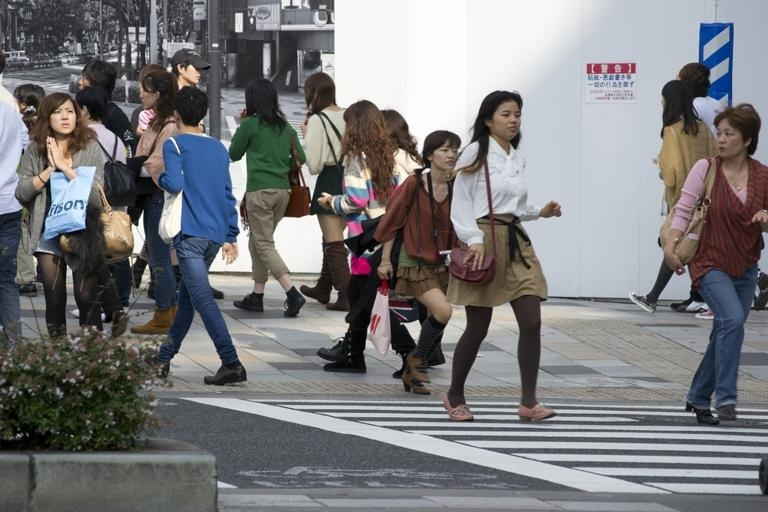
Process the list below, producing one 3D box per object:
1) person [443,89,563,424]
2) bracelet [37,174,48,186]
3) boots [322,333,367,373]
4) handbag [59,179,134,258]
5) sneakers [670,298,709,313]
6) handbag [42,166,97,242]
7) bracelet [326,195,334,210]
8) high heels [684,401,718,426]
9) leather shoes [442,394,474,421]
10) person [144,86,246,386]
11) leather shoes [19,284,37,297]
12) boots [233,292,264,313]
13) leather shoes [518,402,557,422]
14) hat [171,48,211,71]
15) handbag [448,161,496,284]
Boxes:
[{"bbox_3d":[0.975,0.039,8.146,0.864,2.841,0.596,2,6,5],"label":"person"},{"bbox_3d":[-3.094,-0.694,8.767,0.058,0.104,0.102,5,7,23],"label":"bracelet"},{"bbox_3d":[-0.355,1.020,10.139,0.546,0.511,0.267,4,4,0],"label":"boots"},{"bbox_3d":[-2.708,-0.340,8.991,0.323,0.727,0.691,-18,-9,23],"label":"handbag"},{"bbox_3d":[4.213,0.693,13.372,0.498,0.204,0.184,2,2,-1],"label":"sneakers"},{"bbox_3d":[-2.844,-0.489,8.845,0.450,0.610,0.190,-2,-23,21],"label":"handbag"},{"bbox_3d":[-0.598,-0.596,10.533,0.115,0.105,0.089,1,-7,-14],"label":"bracelet"},{"bbox_3d":[2.767,1.380,8.438,0.116,0.144,0.331,-6,16,-43],"label":"high heels"},{"bbox_3d":[0.631,1.330,8.399,0.131,0.128,0.317,-1,5,-26],"label":"leather shoes"},{"bbox_3d":[-1.698,-0.174,8.977,0.809,2.779,0.661,1,6,-13],"label":"person"},{"bbox_3d":[-4.604,0.447,12.500,0.243,0.249,0.150,5,-4,-15],"label":"leather shoes"},{"bbox_3d":[-1.695,0.586,12.395,0.408,0.269,0.192,10,2,15],"label":"boots"},{"bbox_3d":[1.303,1.338,8.279,0.320,0.140,0.147,-6,-3,20],"label":"leather shoes"},{"bbox_3d":[-2.349,-2.375,11.707,0.427,0.227,0.277,1,6,-2],"label":"hat"},{"bbox_3d":[0.739,-0.279,7.996,0.380,1.006,0.324,2,6,5],"label":"handbag"}]
